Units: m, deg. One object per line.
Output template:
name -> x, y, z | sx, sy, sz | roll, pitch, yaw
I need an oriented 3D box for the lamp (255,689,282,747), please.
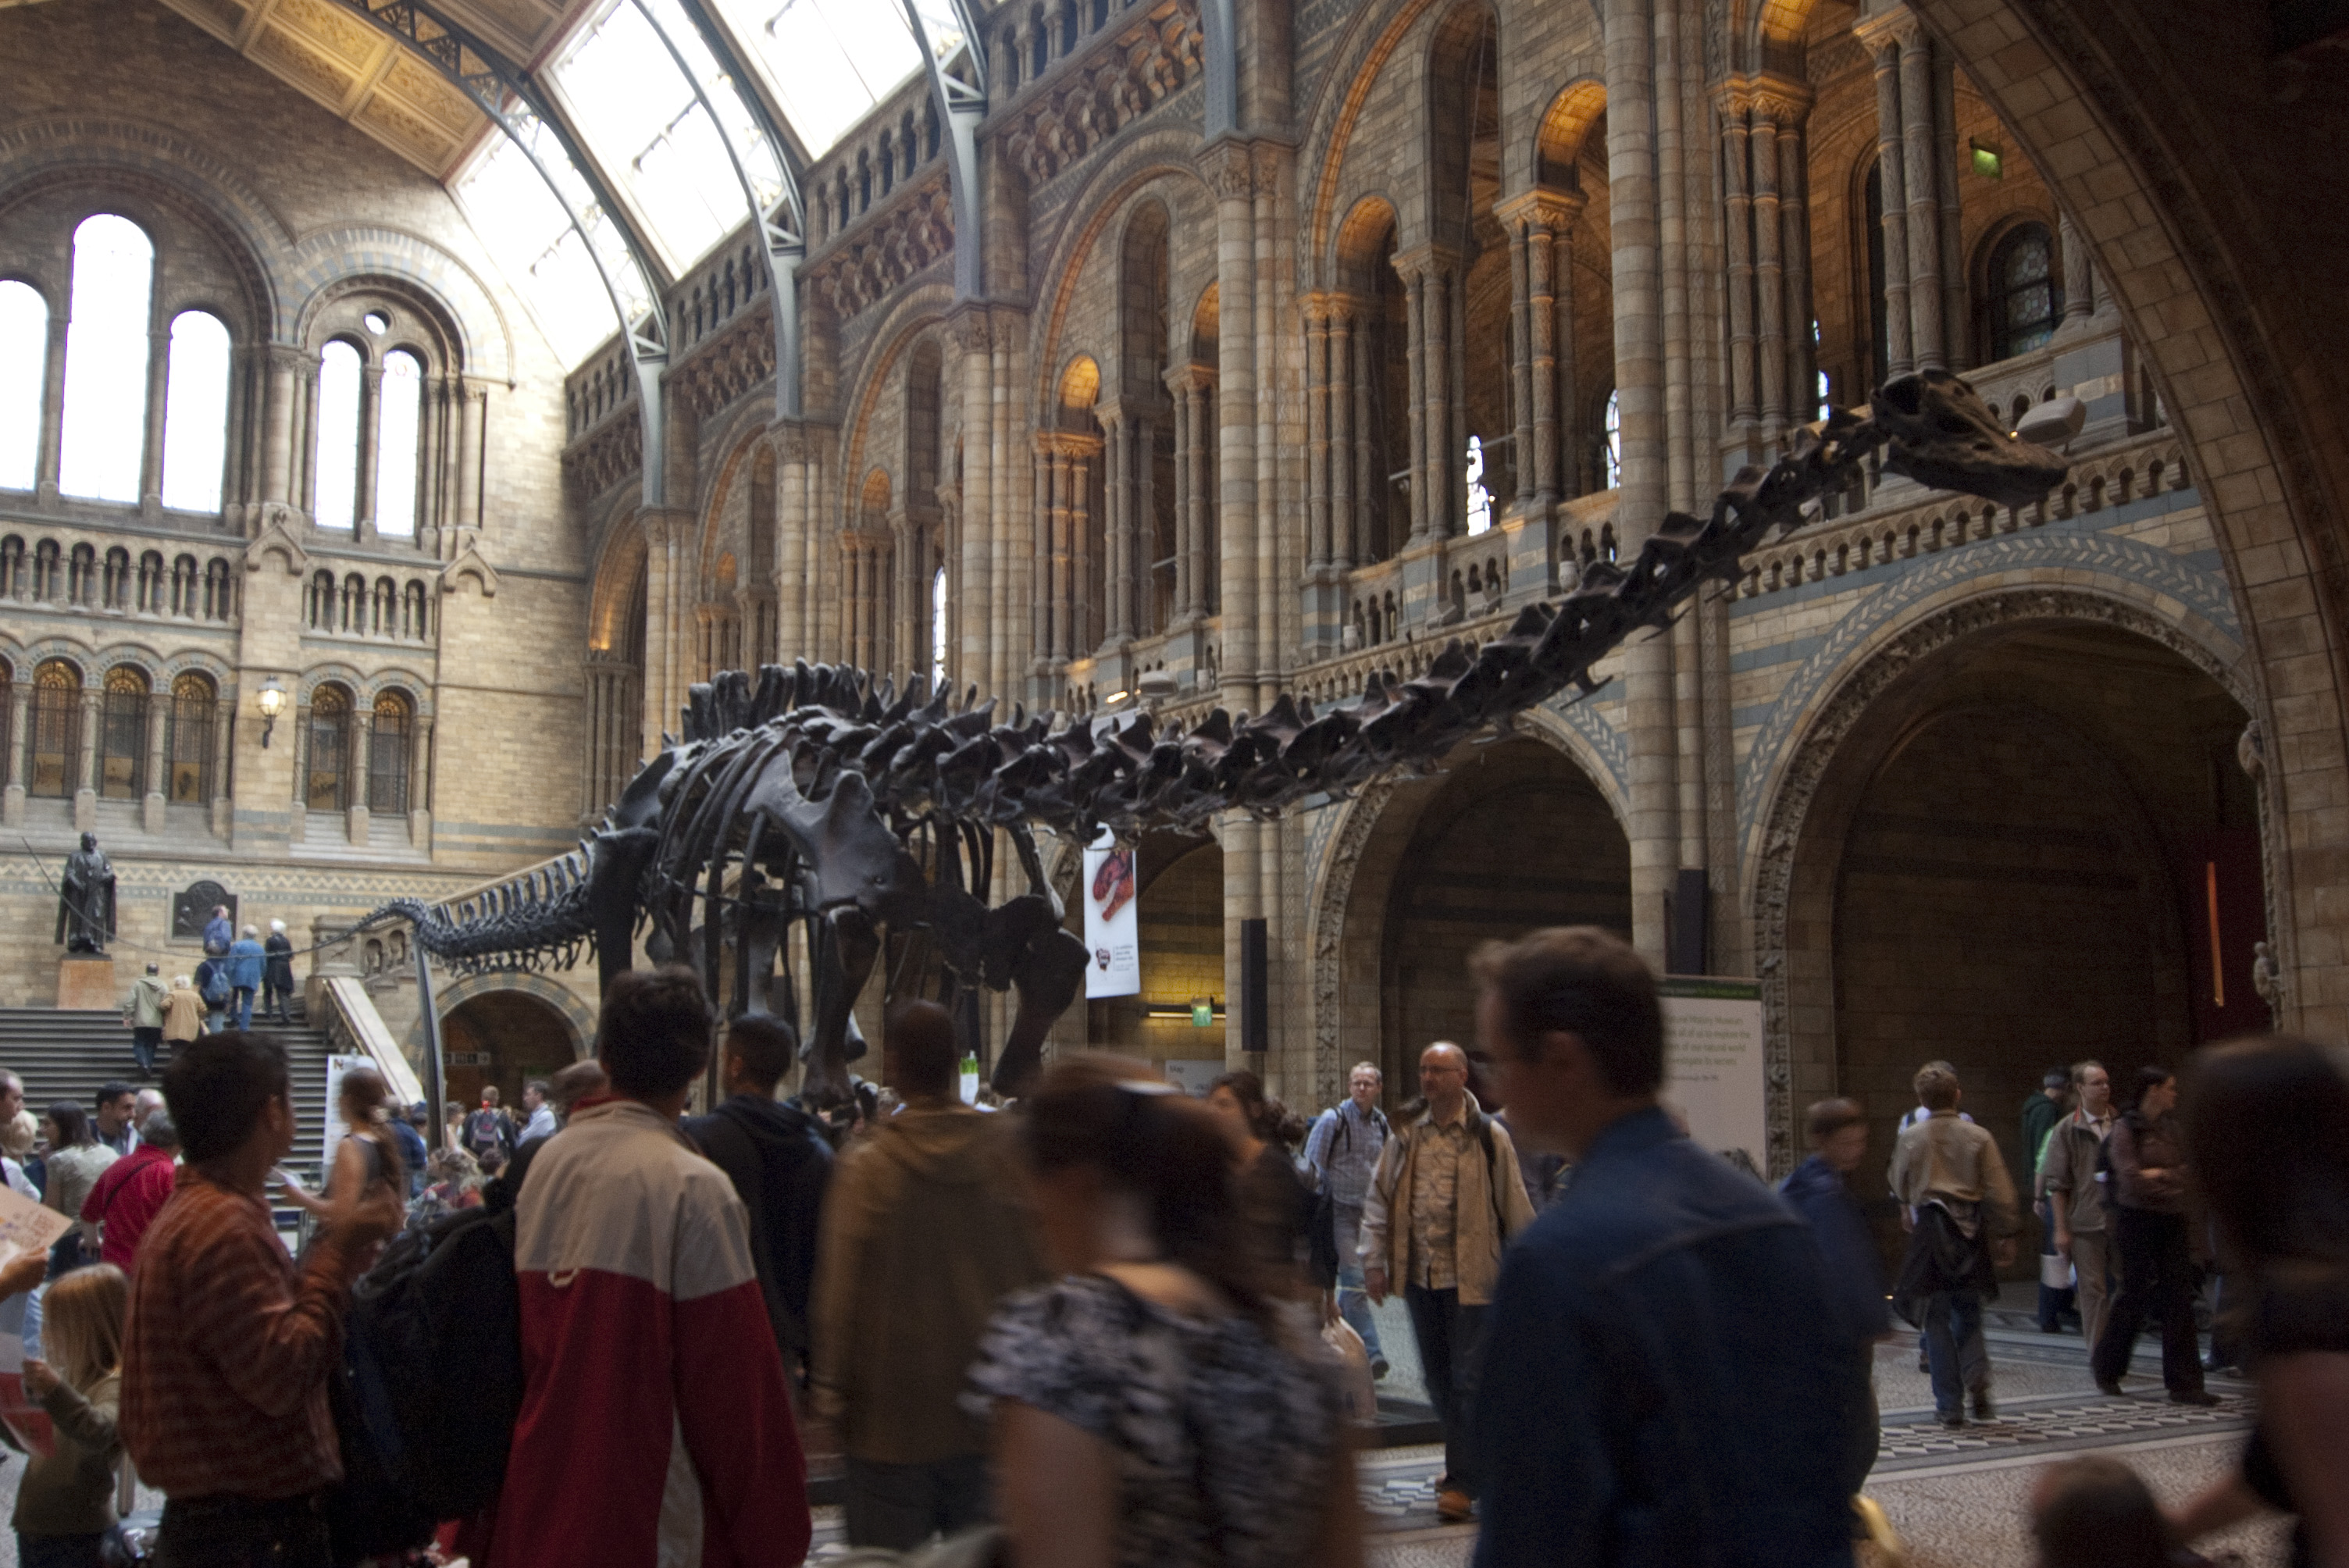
lamp -> -12.538, -0.978, 37.557 | 0.344, 0.877, 0.763 | 3, -9, -17

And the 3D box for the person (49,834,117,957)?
person -> -13.649, 1.459, 33.916 | 0.617, 1.547, 1.144 | 4, -9, -23

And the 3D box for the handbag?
handbag -> -2.639, 2.135, 9.706 | 0.710, 1.179, 0.929 | 10, -14, -24

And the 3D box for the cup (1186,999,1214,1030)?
cup -> 0.301, 2.470, 28.611 | 0.336, 0.396, 0.226 | -5, 6, -18
